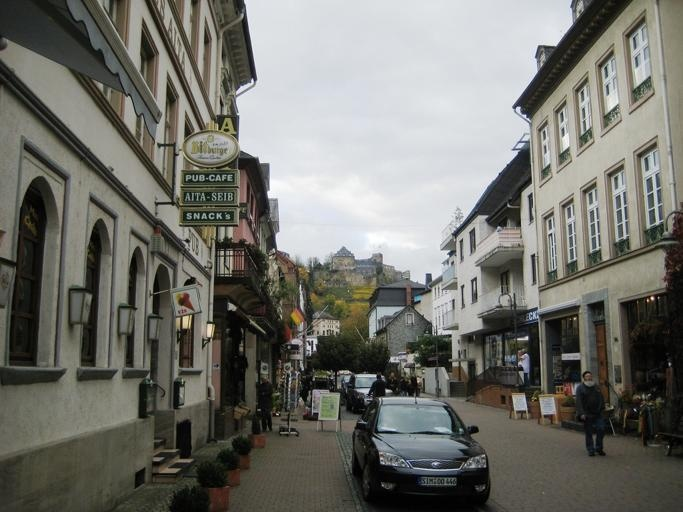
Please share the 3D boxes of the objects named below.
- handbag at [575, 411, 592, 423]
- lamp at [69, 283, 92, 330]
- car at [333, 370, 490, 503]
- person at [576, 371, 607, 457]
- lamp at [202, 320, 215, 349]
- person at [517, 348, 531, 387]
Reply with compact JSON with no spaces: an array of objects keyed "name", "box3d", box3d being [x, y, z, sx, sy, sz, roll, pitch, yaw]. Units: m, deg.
[{"name":"handbag","box3d":[6.167,4.174,15.451,0.269,0.156,0.431,0,-6,6]},{"name":"lamp","box3d":[-3.978,0.726,9.126,0.377,0.716,0.519,-1,-6,1]},{"name":"car","box3d":[1.408,3.573,11.472,2.275,1.977,2.709,0,-16,1]},{"name":"person","box3d":[6.381,4.009,15.457,0.683,2.070,0.559,-2,-14,10]},{"name":"lamp","box3d":[-4.112,2.418,18.629,0.271,0.875,0.649,1,-15,-2]},{"name":"person","box3d":[9.925,6.119,32.741,0.593,1.612,0.772,-4,-15,18]}]
